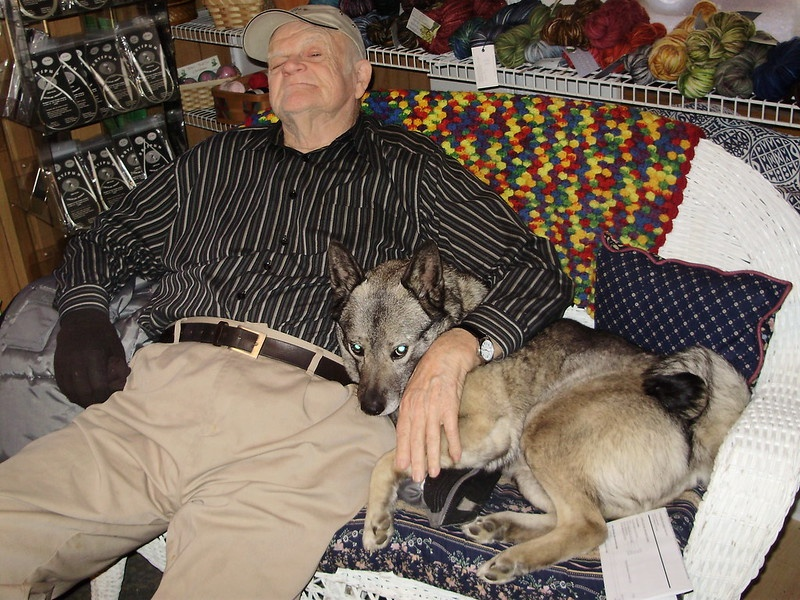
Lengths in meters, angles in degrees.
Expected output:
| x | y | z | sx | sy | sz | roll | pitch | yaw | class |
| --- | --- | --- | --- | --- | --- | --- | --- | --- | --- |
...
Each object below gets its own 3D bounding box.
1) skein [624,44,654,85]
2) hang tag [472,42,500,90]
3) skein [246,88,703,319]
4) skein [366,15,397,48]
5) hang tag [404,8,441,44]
| x | y | z | sx | sy | sz | roll | pitch | yaw | class |
| --- | --- | --- | --- | --- | --- | --- | --- | --- | --- |
| 1.241 | -1.230 | 3.558 | 0.149 | 0.206 | 0.088 | 11 | 4 | 43 | skein |
| 0.485 | -1.327 | 3.883 | 0.131 | 0.272 | 0.023 | -7 | -12 | -1 | hang tag |
| 0.694 | -0.658 | 3.727 | 1.465 | 0.949 | 0.415 | 29 | -22 | 15 | skein |
| -0.120 | -1.733 | 4.376 | 0.197 | 0.185 | 0.075 | -11 | -5 | 25 | skein |
| 0.146 | -1.688 | 4.234 | 0.278 | 0.195 | 0.063 | 40 | 25 | 20 | hang tag |
